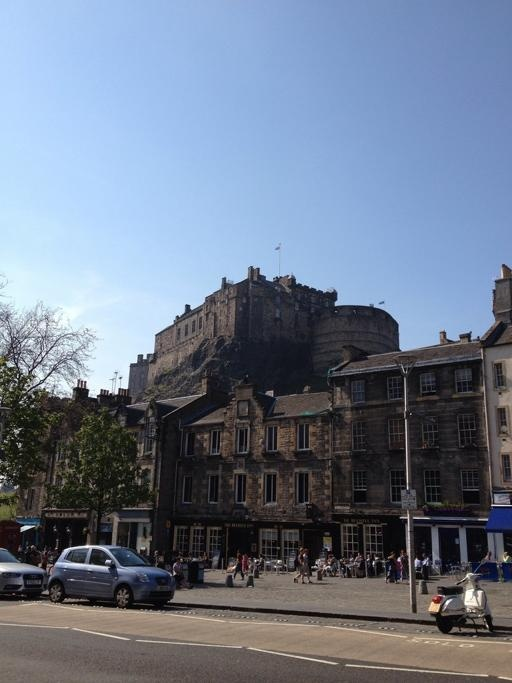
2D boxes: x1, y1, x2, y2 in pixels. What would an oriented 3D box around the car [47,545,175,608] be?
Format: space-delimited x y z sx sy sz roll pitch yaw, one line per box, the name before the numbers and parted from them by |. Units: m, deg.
car | -4.013 6.499 15.338 3.237 1.569 1.307 -8 -19 31
